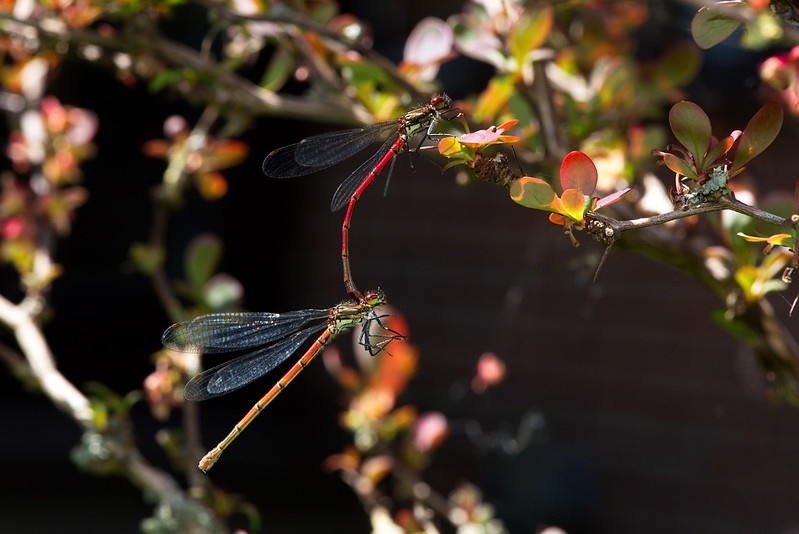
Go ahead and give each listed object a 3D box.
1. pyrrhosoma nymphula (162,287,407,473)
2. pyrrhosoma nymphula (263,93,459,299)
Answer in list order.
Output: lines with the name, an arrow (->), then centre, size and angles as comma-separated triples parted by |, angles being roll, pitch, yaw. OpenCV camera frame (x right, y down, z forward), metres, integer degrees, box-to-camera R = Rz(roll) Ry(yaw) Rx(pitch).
pyrrhosoma nymphula -> -0.232, 0.171, 1.553 | 0.375, 0.387, 0.217 | 15, 10, 0
pyrrhosoma nymphula -> -0.039, -0.154, 1.566 | 0.192, 0.354, 0.459 | 48, -15, 5
